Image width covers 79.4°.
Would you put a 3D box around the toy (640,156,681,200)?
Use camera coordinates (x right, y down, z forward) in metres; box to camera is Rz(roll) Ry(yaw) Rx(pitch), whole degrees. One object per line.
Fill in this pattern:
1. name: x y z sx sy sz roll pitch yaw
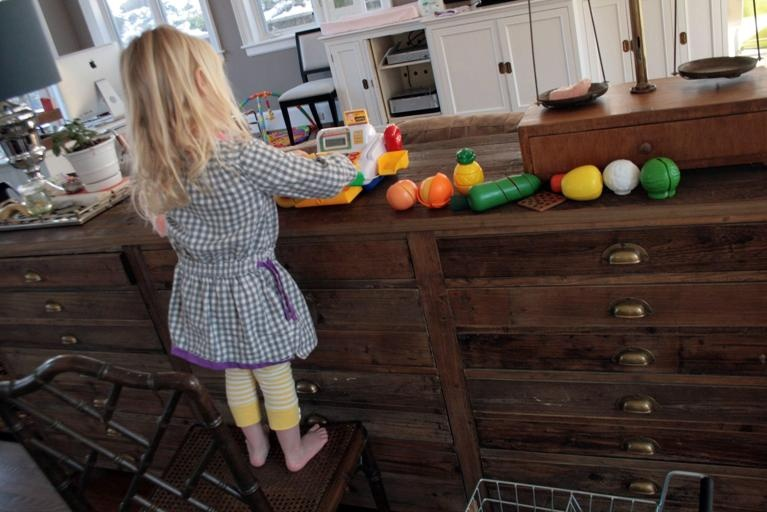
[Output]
1. toy: 0.700 -0.200 1.175 0.083 0.100 0.097 2 25 30

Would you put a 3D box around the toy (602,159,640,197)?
1. toy: 0.629 -0.207 1.220 0.084 0.077 0.080 -25 28 -31

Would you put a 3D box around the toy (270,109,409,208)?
1. toy: -0.167 -0.361 1.592 0.480 0.199 0.359 7 43 19

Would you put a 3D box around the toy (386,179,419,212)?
1. toy: 0.057 -0.182 1.390 0.094 0.084 0.071 -16 23 -12

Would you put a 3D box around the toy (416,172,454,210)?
1. toy: 0.161 -0.196 1.366 0.119 0.098 0.083 -13 22 -7

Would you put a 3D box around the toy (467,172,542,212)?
1. toy: 0.328 -0.177 1.329 0.240 0.078 0.078 -15 54 -9

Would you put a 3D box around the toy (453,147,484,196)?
1. toy: 0.232 -0.249 1.382 0.111 0.122 0.104 -23 34 -31

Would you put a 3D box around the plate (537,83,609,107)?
1. plate: 0.553 -0.469 1.357 0.187 0.059 0.154 -1 21 20

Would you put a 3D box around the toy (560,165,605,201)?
1. toy: 0.521 -0.194 1.245 0.119 0.073 0.096 -4 -2 3
